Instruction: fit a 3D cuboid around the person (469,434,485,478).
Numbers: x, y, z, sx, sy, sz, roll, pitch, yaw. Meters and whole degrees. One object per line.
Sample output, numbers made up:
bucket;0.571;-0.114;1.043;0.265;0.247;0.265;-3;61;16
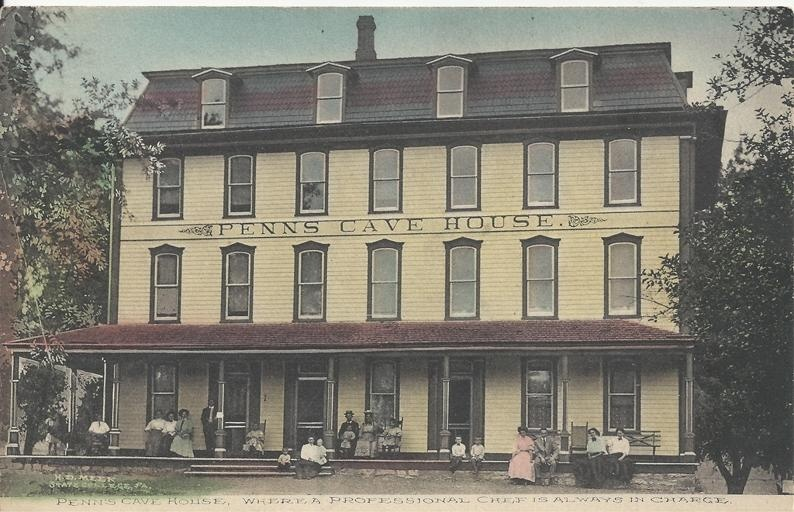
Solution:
person;2.381;5.939;58.474;0.383;1.188;0.194;0;-15;9

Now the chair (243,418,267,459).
chair;-4.213;5.424;59.436;0.811;0.799;0.750;-10;5;5

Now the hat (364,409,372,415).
hat;-0.845;4.658;59.077;0.177;0.147;0.152;0;-21;0

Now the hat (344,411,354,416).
hat;-1.407;4.735;59.152;0.202;0.152;0.178;-3;-2;34

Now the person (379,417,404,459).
person;-0.148;5.416;58.983;0.640;1.179;0.187;3;-15;-2

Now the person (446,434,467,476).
person;1.816;5.900;58.460;0.490;1.171;0.260;2;-15;2

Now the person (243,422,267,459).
person;-4.234;5.513;59.390;0.602;1.051;0.167;0;-15;10
